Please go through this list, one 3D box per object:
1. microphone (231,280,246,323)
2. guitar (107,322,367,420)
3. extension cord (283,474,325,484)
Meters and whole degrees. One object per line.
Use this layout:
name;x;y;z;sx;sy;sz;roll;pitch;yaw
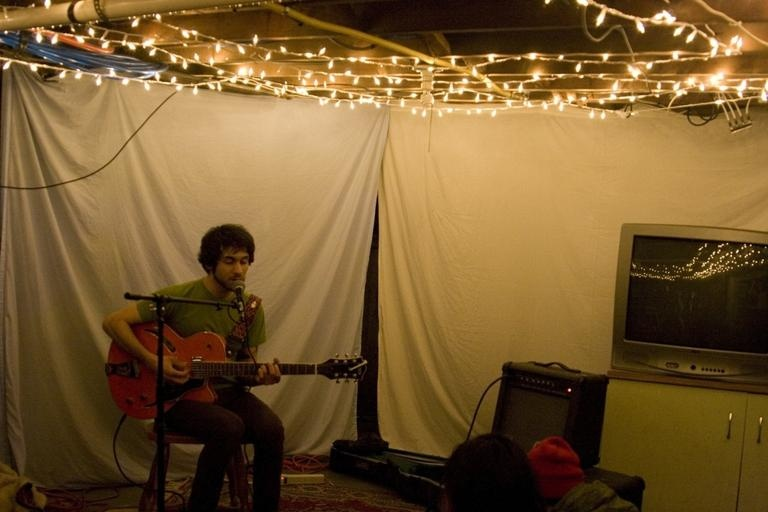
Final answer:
microphone;-0.934;0.290;3.934;0.085;0.088;0.316;0;47;-2
guitar;-1.086;0.763;4.134;1.424;0.608;0.297;2;7;-20
extension cord;-0.641;1.764;4.882;0.335;0.050;0.094;3;6;-11
